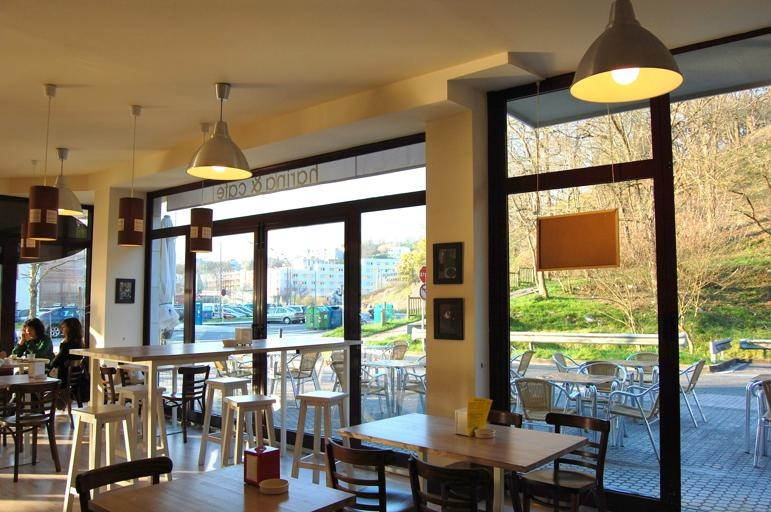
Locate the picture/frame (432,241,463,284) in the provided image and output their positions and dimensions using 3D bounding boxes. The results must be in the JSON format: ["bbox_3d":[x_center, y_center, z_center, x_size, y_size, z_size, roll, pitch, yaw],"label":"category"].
[{"bbox_3d":[0.670,0.070,6.144,0.043,0.548,0.441,7,-7,-44],"label":"picture/frame"}]

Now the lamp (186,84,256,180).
[{"bbox_3d":[-1.646,-1.298,5.870,0.628,0.816,0.626,17,18,32],"label":"lamp"}]

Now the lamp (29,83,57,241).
[{"bbox_3d":[-3.656,-1.026,6.353,0.292,1.631,0.285,4,3,-29],"label":"lamp"}]

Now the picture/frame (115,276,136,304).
[{"bbox_3d":[-4.192,0.548,9.467,0.047,0.603,0.456,-3,-3,44],"label":"picture/frame"}]

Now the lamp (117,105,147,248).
[{"bbox_3d":[-2.955,-0.966,6.895,0.313,1.621,0.308,2,3,-38],"label":"lamp"}]

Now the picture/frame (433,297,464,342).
[{"bbox_3d":[0.675,0.663,6.123,0.470,0.561,0.059,-2,-5,37],"label":"picture/frame"}]
